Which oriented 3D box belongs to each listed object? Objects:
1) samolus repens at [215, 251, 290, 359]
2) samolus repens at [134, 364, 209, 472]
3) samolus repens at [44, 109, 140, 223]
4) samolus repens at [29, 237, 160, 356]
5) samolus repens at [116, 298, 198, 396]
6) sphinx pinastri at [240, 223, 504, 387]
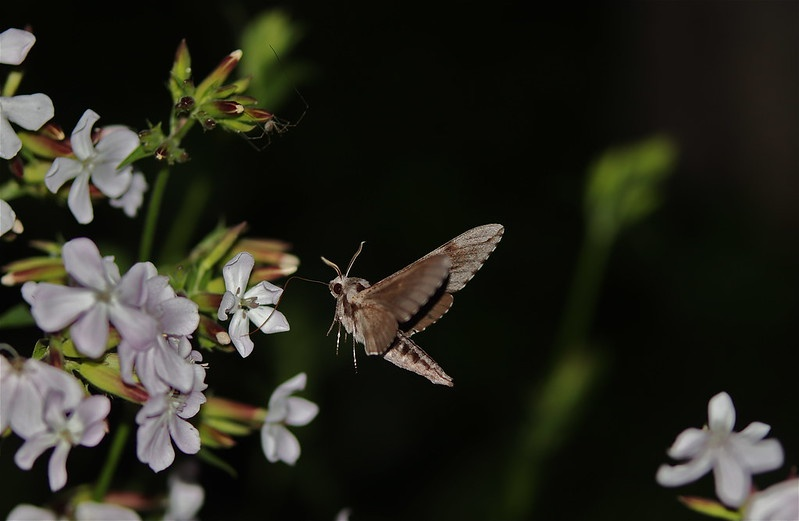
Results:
[{"bbox_3d":[-0.523,0.165,2.884,0.273,0.279,0.162,17,-9,-14],"label":"samolus repens"},{"bbox_3d":[-0.783,0.551,2.783,0.114,0.332,0.321,11,22,31],"label":"samolus repens"},{"bbox_3d":[-1.115,-0.326,2.913,0.269,0.366,0.205,18,-10,-19],"label":"samolus repens"},{"bbox_3d":[-1.006,0.133,2.816,0.440,0.376,0.358,-6,6,-6],"label":"samolus repens"},{"bbox_3d":[-0.788,0.291,2.680,0.277,0.305,0.088,2,-10,-16],"label":"samolus repens"},{"bbox_3d":[-0.033,0.164,3.228,1.014,0.920,0.589,3,7,39],"label":"sphinx pinastri"}]
